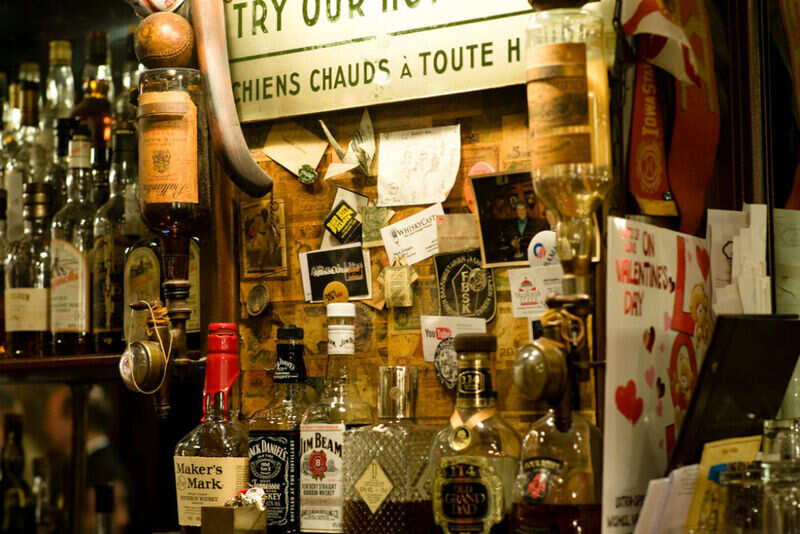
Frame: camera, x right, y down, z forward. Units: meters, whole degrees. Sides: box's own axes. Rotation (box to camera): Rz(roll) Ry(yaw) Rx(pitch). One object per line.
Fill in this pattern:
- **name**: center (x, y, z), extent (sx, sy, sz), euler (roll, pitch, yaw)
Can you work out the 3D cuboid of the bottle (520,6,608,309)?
- **bottle**: center (0.313, -0.217, 1.680), extent (0.148, 0.543, 0.103), euler (-2, -3, 11)
